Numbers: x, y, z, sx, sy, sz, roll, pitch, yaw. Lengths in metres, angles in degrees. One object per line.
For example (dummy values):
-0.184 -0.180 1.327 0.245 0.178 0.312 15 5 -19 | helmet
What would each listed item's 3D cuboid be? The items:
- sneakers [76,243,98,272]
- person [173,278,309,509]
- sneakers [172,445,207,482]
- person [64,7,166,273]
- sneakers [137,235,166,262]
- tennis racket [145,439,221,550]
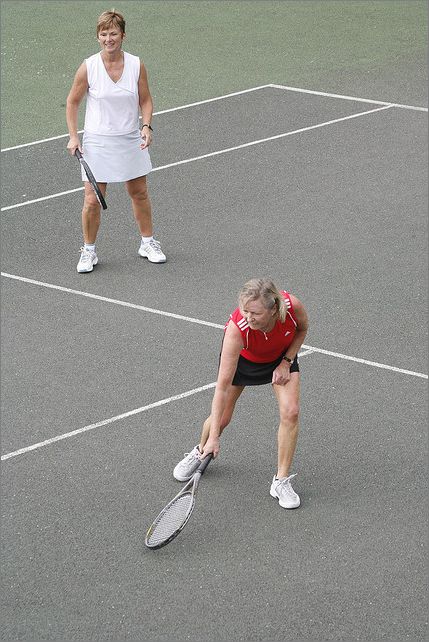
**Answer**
-1.137 -0.575 6.357 0.121 0.148 0.299 1 33 3 | sneakers
0.210 0.374 3.701 0.524 1.350 0.509 1 32 6 | person
-0.152 0.835 4.072 0.096 0.120 0.283 44 78 3 | sneakers
-0.889 -1.461 5.943 0.793 2.140 0.477 -8 32 -8 | person
-0.588 -0.675 6.525 0.135 0.167 0.348 -19 37 -33 | sneakers
-0.148 0.961 3.574 0.219 0.413 0.448 22 39 34 | tennis racket
